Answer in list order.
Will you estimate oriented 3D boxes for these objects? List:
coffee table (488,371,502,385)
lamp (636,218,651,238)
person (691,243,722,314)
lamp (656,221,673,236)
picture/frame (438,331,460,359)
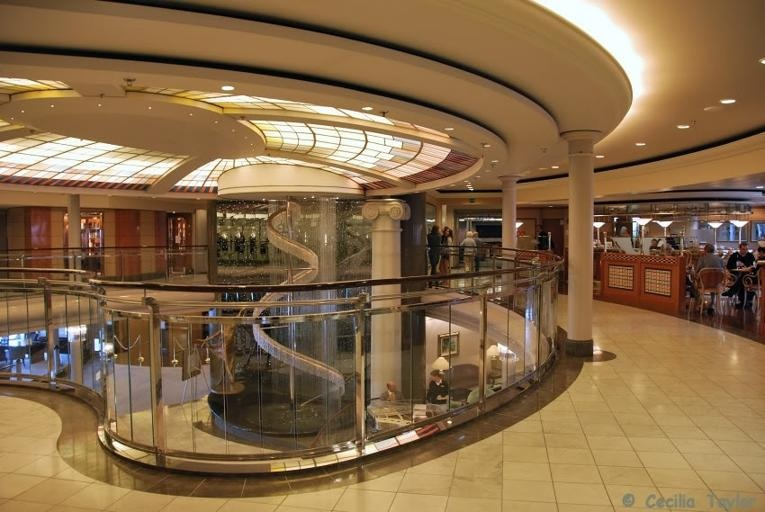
[{"bbox_3d":[1.753,1.925,8.312,0.224,0.150,0.327,0,2,42],"label":"coffee table"},{"bbox_3d":[13.413,-1.540,27.528,0.741,1.114,2.962,6,11,26],"label":"lamp"},{"bbox_3d":[9.032,0.608,14.786,0.747,2.056,0.728,-11,-36,39],"label":"person"},{"bbox_3d":[14.652,-1.461,27.719,0.643,0.671,0.625,-13,12,-2],"label":"lamp"},{"bbox_3d":[0.934,1.269,7.577,0.470,0.370,0.034,0,0,-44],"label":"picture/frame"}]
